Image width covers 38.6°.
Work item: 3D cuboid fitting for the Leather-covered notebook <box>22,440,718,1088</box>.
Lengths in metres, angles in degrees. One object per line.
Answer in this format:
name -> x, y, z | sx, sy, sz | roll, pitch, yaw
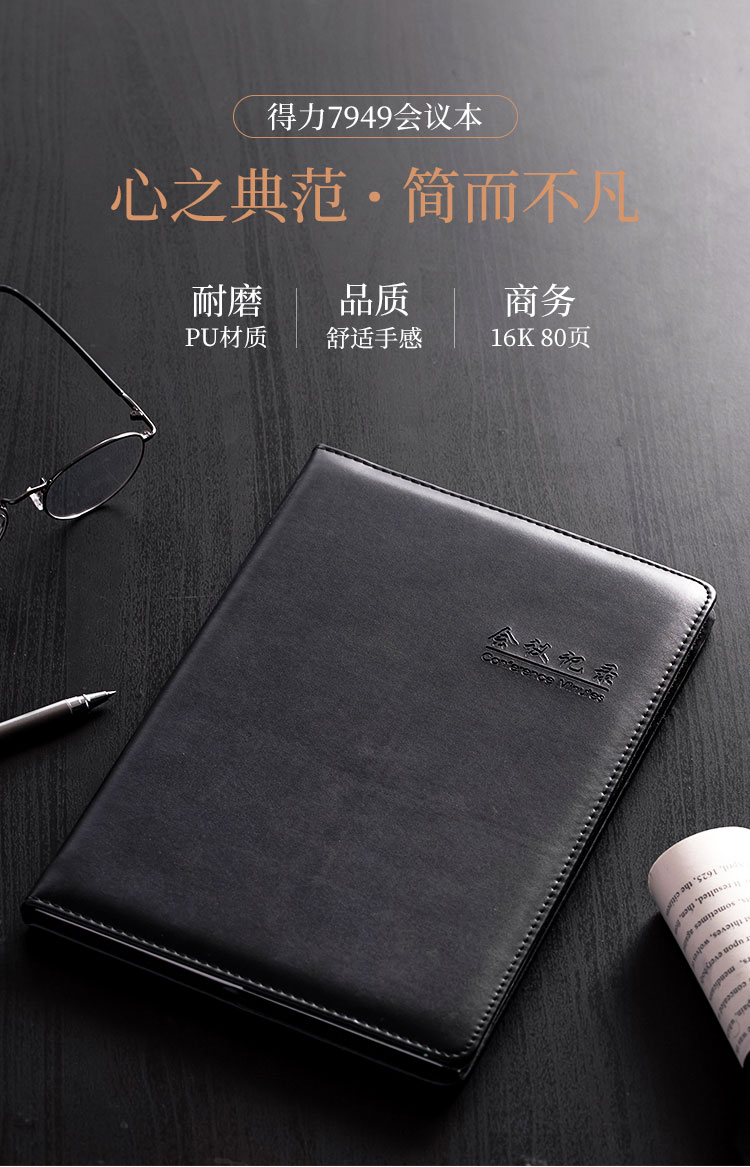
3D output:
Leather-covered notebook -> 0.010, 0.101, 0.728 | 0.362, 0.329, 0.340 | 7, 16, 25
